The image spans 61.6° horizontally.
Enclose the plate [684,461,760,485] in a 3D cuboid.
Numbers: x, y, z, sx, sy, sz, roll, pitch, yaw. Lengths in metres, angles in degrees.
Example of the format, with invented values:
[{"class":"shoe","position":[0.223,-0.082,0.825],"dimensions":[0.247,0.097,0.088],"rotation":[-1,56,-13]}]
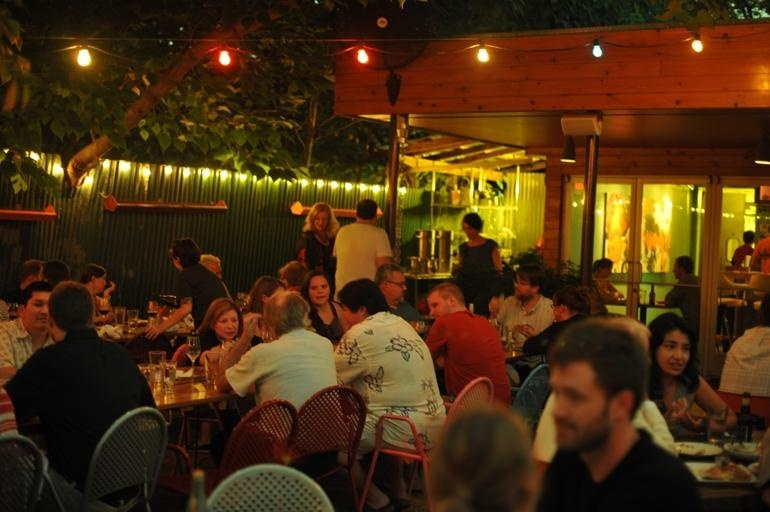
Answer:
[{"class":"plate","position":[2.039,1.285,3.865],"dimensions":[0.400,0.086,0.361],"rotation":[-1,1,10]}]

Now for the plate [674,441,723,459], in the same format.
[{"class":"plate","position":[2.063,1.281,4.263],"dimensions":[0.345,0.067,0.261],"rotation":[-1,1,0]}]

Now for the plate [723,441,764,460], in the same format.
[{"class":"plate","position":[2.358,1.292,4.266],"dimensions":[0.209,0.090,0.219],"rotation":[0,1,31]}]
